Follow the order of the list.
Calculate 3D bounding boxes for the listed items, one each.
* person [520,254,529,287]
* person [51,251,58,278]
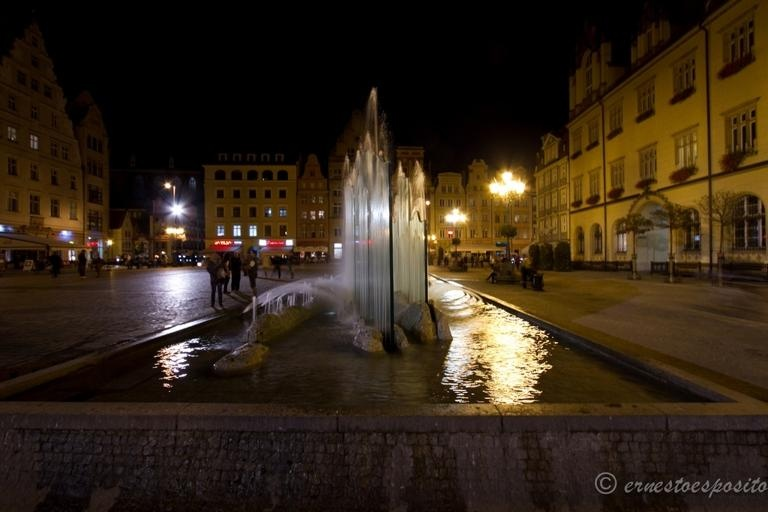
[{"bbox_3d":[7.654,0.869,31.039,0.402,1.632,2.113,2,13,14],"label":"person"},{"bbox_3d":[-23.046,0.683,40.295,0.549,1.491,1.434,-7,14,-29],"label":"person"}]
